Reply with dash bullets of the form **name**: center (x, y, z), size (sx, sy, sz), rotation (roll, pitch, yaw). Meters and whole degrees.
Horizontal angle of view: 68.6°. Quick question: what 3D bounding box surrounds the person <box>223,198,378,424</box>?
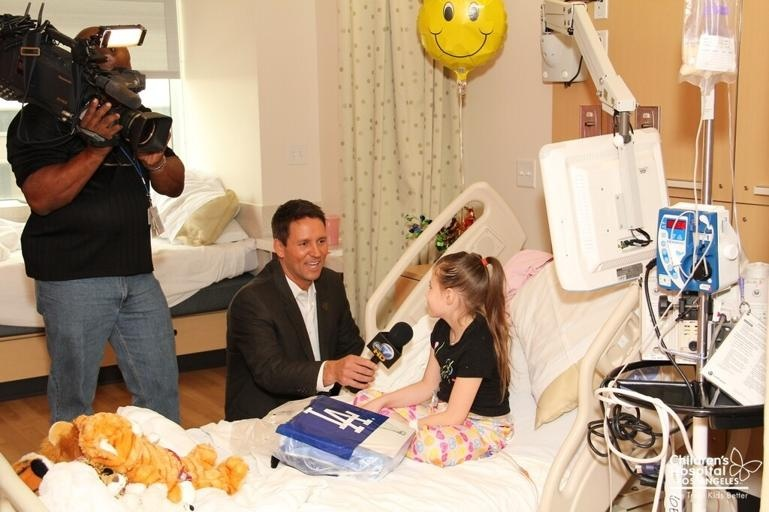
- **person**: center (-0.366, 0.261, 2.580), size (0.773, 1.029, 0.614), rotation (2, 8, 12)

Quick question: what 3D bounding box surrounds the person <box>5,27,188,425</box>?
- **person**: center (-1.207, 0.070, 2.406), size (0.658, 1.392, 0.374), rotation (-2, 8, -21)

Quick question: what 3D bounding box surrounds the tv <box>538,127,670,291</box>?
- **tv**: center (0.745, -0.165, 1.775), size (0.435, 0.443, 0.152), rotation (-11, 4, -17)

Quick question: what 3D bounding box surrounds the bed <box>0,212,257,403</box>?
- **bed**: center (-2.004, 0.401, 4.464), size (1.614, 1.029, 0.888), rotation (-13, 16, -30)

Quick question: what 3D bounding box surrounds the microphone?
- **microphone**: center (0.008, 0.350, 2.221), size (0.160, 0.180, 0.112), rotation (7, 10, 43)

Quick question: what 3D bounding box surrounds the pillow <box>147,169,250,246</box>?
- **pillow**: center (-1.602, -0.395, 4.607), size (0.775, 0.694, 0.234), rotation (13, -15, 27)

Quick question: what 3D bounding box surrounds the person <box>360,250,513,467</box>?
- **person**: center (0.256, 0.335, 2.507), size (0.721, 0.881, 0.756), rotation (-2, 6, -10)

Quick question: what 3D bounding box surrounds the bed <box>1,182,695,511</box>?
- **bed**: center (-0.138, 0.369, 2.356), size (1.689, 0.740, 0.936), rotation (-23, 36, -28)
